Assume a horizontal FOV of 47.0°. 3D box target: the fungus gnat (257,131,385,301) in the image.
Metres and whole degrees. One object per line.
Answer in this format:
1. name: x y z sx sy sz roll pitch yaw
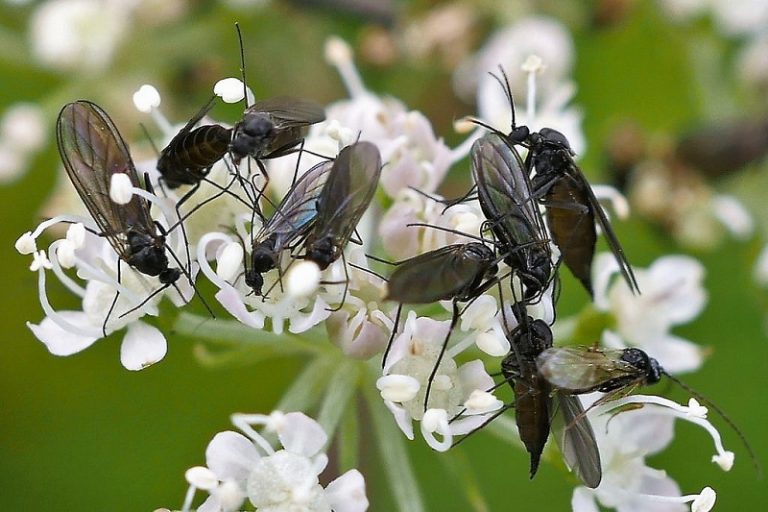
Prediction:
1. fungus gnat: -0.145 -0.085 2.207 0.291 0.424 0.109 26 9 4
